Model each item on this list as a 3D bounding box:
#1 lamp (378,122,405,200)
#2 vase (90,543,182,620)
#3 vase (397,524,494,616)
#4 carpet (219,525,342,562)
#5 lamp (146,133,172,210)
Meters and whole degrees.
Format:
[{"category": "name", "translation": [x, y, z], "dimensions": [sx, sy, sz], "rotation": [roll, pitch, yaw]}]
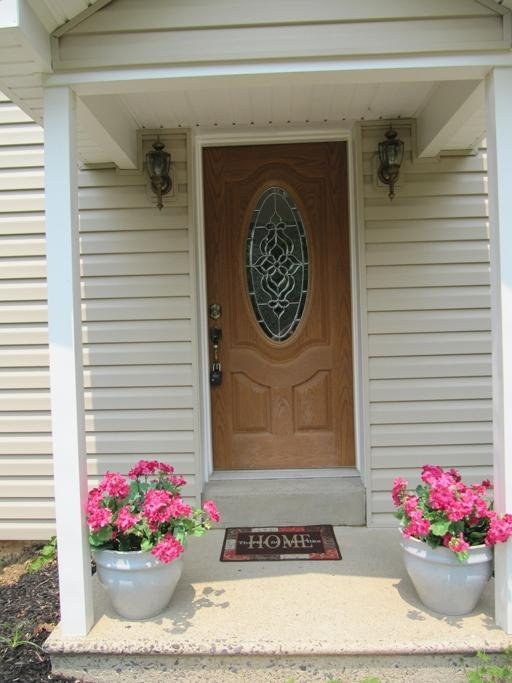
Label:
[{"category": "lamp", "translation": [0.751, -1.006, 3.556], "dimensions": [0.115, 0.368, 0.199], "rotation": [-4, 5, -8]}, {"category": "vase", "translation": [-0.487, 1.043, 2.749], "dimensions": [0.404, 0.275, 0.367], "rotation": [-3, -6, 12]}, {"category": "vase", "translation": [0.774, 0.949, 2.676], "dimensions": [0.381, 0.263, 0.359], "rotation": [1, -2, -40]}, {"category": "carpet", "translation": [0.131, 1.095, 3.393], "dimensions": [0.626, 0.024, 0.435], "rotation": [-2, 5, 2]}, {"category": "lamp", "translation": [-0.562, -0.978, 3.623], "dimensions": [0.153, 0.414, 0.234], "rotation": [-4, 5, -8]}]
